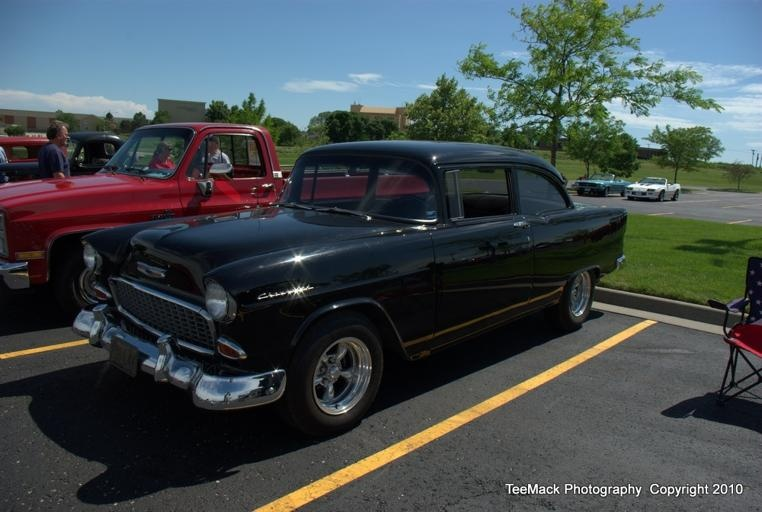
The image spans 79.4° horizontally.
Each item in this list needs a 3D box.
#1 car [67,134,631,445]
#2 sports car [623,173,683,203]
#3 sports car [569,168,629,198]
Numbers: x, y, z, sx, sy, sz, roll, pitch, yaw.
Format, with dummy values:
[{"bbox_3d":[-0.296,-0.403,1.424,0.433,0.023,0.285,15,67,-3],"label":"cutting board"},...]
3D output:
[{"bbox_3d":[0.159,0.111,5.199,5.552,1.654,2.678,-5,8,-35],"label":"car"},{"bbox_3d":[19.346,-4.743,32.336,4.112,1.163,2.051,-3,6,-35],"label":"sports car"},{"bbox_3d":[16.330,-5.347,33.823,4.470,1.233,1.913,-3,6,-38],"label":"sports car"}]
